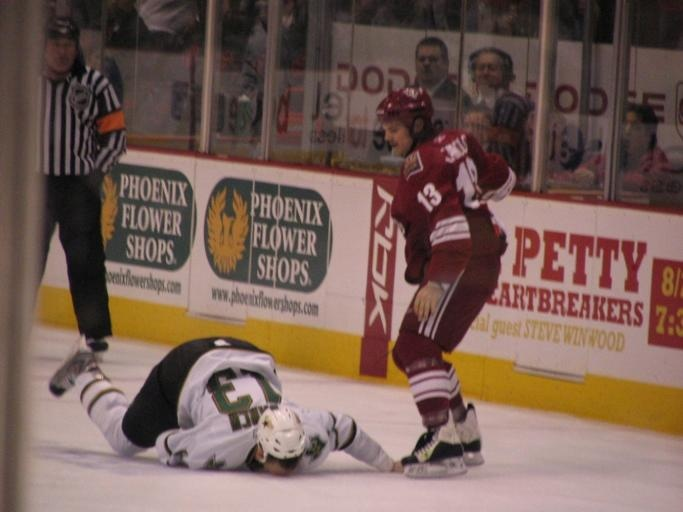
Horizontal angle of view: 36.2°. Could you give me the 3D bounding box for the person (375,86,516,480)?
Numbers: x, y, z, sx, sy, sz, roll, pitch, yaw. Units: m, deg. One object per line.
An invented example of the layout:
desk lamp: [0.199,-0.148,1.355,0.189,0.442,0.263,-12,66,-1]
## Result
person: [0.637,0.262,6.033,0.684,1.921,0.665,0,13,-7]

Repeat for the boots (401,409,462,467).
boots: [0.452,1.079,6.021,0.474,0.411,0.172,-2,-3,-1]

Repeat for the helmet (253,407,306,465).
helmet: [-0.306,0.935,5.422,0.249,0.353,0.330,-6,7,-12]

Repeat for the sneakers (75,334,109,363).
sneakers: [-1.686,0.615,7.054,0.179,0.180,0.143,29,11,25]

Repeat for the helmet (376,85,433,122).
helmet: [0.384,-0.892,6.238,0.228,0.257,0.203,4,3,3]

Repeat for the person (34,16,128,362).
person: [-1.811,-0.479,7.338,0.571,2.284,0.636,-1,13,-14]
